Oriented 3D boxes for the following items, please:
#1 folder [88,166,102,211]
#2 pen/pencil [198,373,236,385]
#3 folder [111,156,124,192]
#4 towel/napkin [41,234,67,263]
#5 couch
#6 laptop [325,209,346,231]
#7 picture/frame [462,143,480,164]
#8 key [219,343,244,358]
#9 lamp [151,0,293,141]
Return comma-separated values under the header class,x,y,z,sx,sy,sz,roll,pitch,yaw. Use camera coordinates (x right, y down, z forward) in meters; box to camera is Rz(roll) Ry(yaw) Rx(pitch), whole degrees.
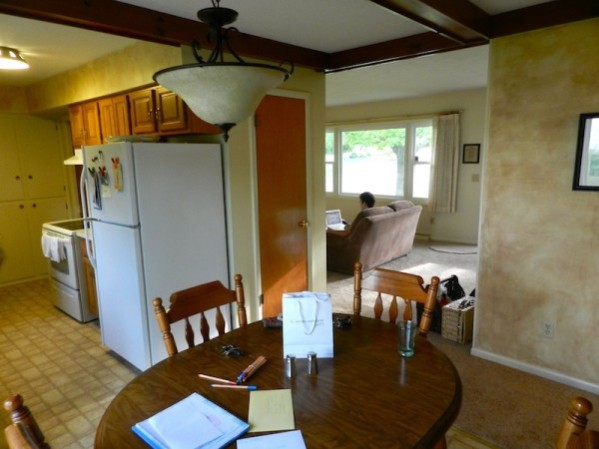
class,x,y,z,sx,sy,sz,roll,pitch,yaw
folder,-1.773,-0.326,3.895,0.040,0.353,0.327,-10,15,-36
pen/pencil,-0.436,0.815,2.373,0.150,0.012,0.012,8,-16,20
folder,-1.459,-0.409,3.599,0.025,0.281,0.161,-13,18,-43
towel/napkin,-2.629,0.241,4.814,0.304,0.205,0.064,9,15,36
couch,1.076,0.190,6.304,1.392,0.956,0.716,-9,16,-36
laptop,0.569,-0.055,6.918,0.306,0.252,0.404,9,12,38
picture/frame,2.910,-1.218,7.573,0.026,0.368,0.303,-13,17,-42
key,-0.390,0.720,2.565,0.105,0.043,0.061,7,9,17
lamp,-0.361,-0.730,2.083,0.496,0.664,0.447,9,15,33
